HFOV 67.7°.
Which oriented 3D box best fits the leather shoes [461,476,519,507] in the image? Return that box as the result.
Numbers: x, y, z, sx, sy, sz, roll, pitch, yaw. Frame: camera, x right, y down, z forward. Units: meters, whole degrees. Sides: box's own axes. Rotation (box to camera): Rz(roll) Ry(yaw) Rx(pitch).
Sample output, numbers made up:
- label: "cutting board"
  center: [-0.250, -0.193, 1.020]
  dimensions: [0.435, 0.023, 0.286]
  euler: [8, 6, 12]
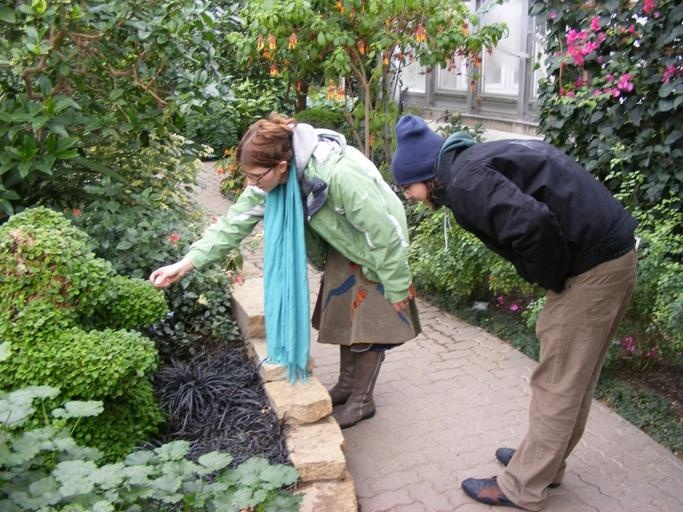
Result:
- label: "leather shoes"
  center: [0.831, 1.295, 2.885]
  dimensions: [0.301, 0.131, 0.114]
  euler: [11, 25, 26]

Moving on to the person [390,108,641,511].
- label: "person"
  center: [0.846, 0.374, 2.572]
  dimensions: [1.104, 2.075, 0.524]
  euler: [6, 14, 22]

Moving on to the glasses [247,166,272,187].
- label: "glasses"
  center: [-0.452, -0.449, 2.829]
  dimensions: [0.115, 0.037, 0.108]
  euler: [-38, 22, -33]
